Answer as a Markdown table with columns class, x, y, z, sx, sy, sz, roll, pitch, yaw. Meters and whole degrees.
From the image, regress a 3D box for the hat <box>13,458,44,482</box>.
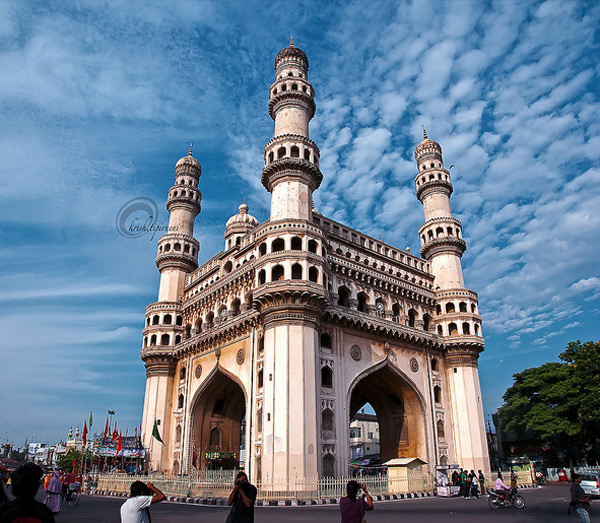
| class | x | y | z | sx | sy | sz | roll | pitch | yaw |
| --- | --- | --- | --- | --- | --- | --- | --- | --- | --- |
| hat | -2.986 | 2.312 | 5.410 | 0.220 | 0.134 | 0.286 | -9 | -20 | 13 |

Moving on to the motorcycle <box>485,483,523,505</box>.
| class | x | y | z | sx | sy | sz | roll | pitch | yaw |
| --- | --- | --- | --- | --- | --- | --- | --- | --- | --- |
| motorcycle | 7.547 | 8.649 | 18.199 | 1.389 | 0.636 | 0.855 | 1 | -23 | -6 |

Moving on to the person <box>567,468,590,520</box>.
| class | x | y | z | sx | sy | sz | roll | pitch | yaw |
| --- | --- | --- | --- | --- | --- | --- | --- | --- | --- |
| person | 6.658 | 5.644 | 11.811 | 0.383 | 1.109 | 1.227 | -13 | -25 | 25 |
